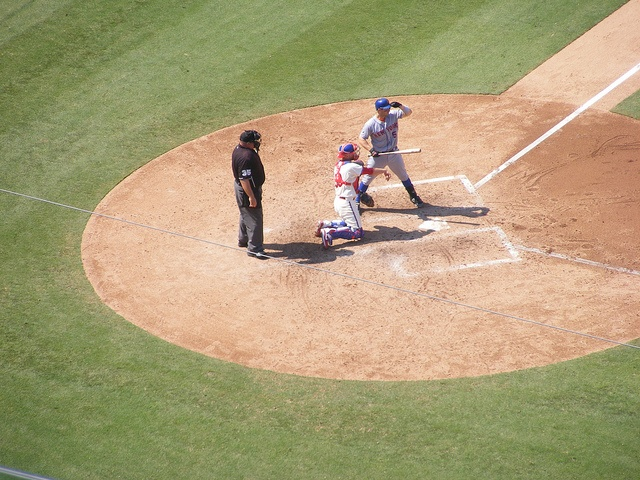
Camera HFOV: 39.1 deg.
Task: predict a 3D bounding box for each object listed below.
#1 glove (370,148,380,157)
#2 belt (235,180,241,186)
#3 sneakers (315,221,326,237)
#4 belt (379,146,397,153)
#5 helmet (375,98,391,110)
[{"bbox_3d":[1.123,-1.738,18.372,0.219,0.152,0.095,29,103,15],"label":"glove"},{"bbox_3d":[-1.578,-1.070,17.492,0.123,0.136,0.070,21,91,1],"label":"belt"},{"bbox_3d":[-0.002,-0.193,17.919,0.190,0.127,0.314,17,102,0],"label":"sneakers"},{"bbox_3d":[1.396,-1.803,18.422,0.163,0.193,0.054,-20,99,-49],"label":"belt"},{"bbox_3d":[1.229,-2.680,18.091,0.352,0.118,0.207,1,32,14],"label":"helmet"}]
